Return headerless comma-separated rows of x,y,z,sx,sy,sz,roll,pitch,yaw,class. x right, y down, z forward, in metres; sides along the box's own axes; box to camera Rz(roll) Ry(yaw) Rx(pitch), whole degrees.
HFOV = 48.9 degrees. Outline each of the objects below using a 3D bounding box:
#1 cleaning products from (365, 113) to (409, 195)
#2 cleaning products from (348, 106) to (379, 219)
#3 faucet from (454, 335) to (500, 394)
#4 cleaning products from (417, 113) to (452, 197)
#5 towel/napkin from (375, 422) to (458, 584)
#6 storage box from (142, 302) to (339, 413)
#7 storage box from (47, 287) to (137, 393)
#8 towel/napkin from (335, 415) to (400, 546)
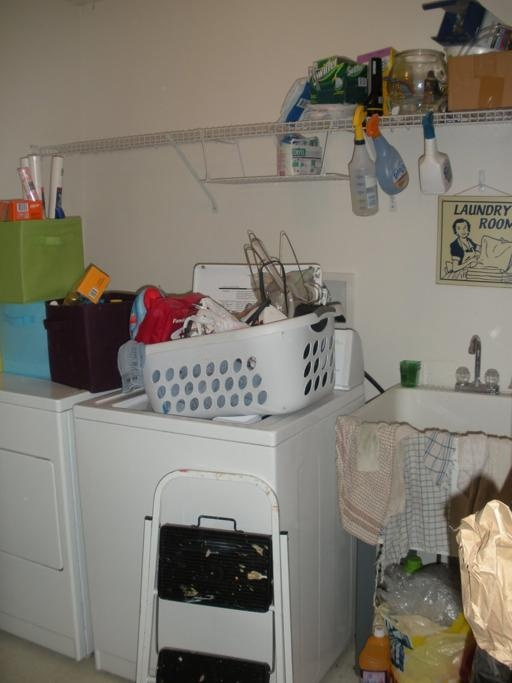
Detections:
0.428,-0.588,1.824,0.141,0.215,0.347,2,11,13,cleaning products
0.356,-0.591,1.846,0.078,0.315,0.123,3,45,20,cleaning products
0.756,0.070,1.919,0.138,0.189,0.121,4,11,24,faucet
0.546,-0.574,1.731,0.100,0.234,0.103,-15,40,10,cleaning products
0.415,0.443,1.471,0.186,0.463,0.116,2,10,13,towel/napkin
-0.051,0.093,1.492,0.395,0.207,0.290,-13,-11,23,storage box
-0.555,-0.019,1.869,0.247,0.251,0.325,3,4,20,storage box
0.318,0.365,1.508,0.075,0.296,0.212,-4,8,-31,towel/napkin
